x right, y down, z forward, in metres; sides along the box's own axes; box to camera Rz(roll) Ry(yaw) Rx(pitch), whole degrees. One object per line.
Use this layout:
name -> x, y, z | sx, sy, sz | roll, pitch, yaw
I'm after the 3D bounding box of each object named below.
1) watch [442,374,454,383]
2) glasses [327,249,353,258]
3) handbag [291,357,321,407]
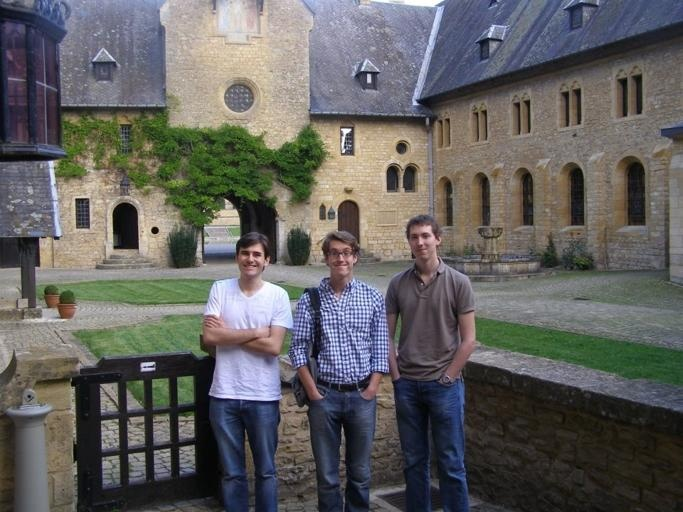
watch -> 0.843, 0.962, 4.658 | 0.060, 0.041, 0.072 | 15, -7, -3
glasses -> -0.010, -0.035, 4.689 | 0.227, 0.084, 0.100 | -2, 4, -1
handbag -> -0.248, 1.003, 4.749 | 0.130, 0.385, 0.293 | -7, -2, -12
